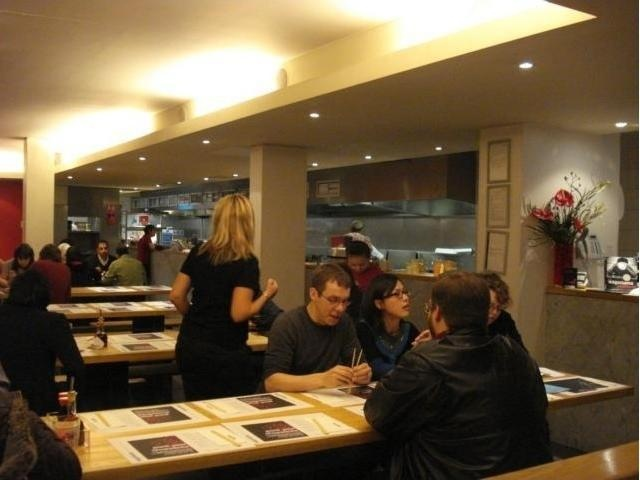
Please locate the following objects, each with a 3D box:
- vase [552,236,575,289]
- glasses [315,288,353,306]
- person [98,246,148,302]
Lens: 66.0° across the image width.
[{"bbox_3d":[2.733,0.272,5.552,0.190,0.479,0.249,4,3,24],"label":"vase"},{"bbox_3d":[0.054,0.305,2.764,0.202,0.142,0.099,2,3,-8],"label":"glasses"},{"bbox_3d":[-3.335,0.655,8.424,0.700,1.081,0.585,-7,9,-39],"label":"person"}]
